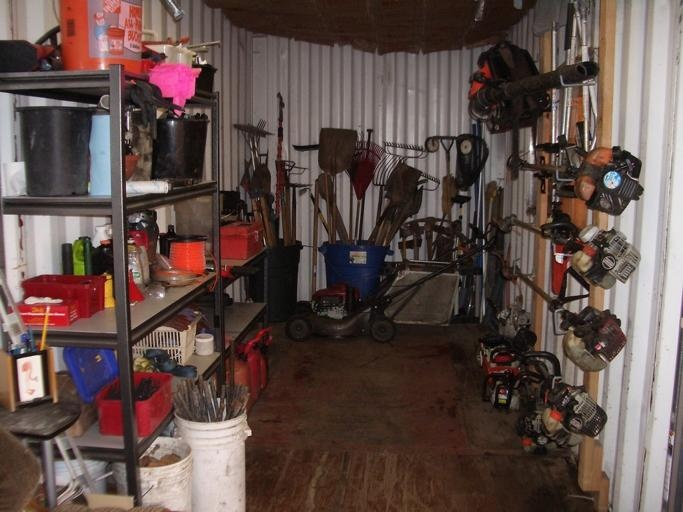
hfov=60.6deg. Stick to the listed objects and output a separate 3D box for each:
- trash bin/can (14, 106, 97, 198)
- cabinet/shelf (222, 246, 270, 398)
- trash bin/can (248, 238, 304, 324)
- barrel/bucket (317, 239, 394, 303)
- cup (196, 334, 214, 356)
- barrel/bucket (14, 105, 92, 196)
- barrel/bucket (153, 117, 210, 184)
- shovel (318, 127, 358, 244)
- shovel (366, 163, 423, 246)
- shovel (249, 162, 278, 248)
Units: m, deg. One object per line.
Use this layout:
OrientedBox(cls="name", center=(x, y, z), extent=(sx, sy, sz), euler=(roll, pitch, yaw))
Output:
OrientedBox(cls="trash bin/can", center=(-1.273, -0.462, 2.717), extent=(0.358, 0.446, 0.371), euler=(5, 8, 25))
OrientedBox(cls="cabinet/shelf", center=(-0.789, 0.552, 4.911), extent=(0.339, 1.027, 1.099), euler=(1, 7, 3))
OrientedBox(cls="trash bin/can", center=(-0.681, 0.259, 6.748), extent=(0.763, 0.876, 0.748), euler=(-2, 4, -21))
OrientedBox(cls="barrel/bucket", center=(0.158, 0.161, 6.764), extent=(0.623, 0.527, 0.635), euler=(2, 1, 0))
OrientedBox(cls="cup", center=(-0.910, 0.604, 3.980), extent=(0.119, 0.118, 0.118), euler=(2, 11, 0))
OrientedBox(cls="barrel/bucket", center=(-1.275, -0.464, 2.732), extent=(0.359, 0.443, 0.364), euler=(1, 7, 0))
OrientedBox(cls="barrel/bucket", center=(-0.858, -0.677, 3.299), extent=(0.272, 0.385, 0.507), euler=(5, 12, 1))
OrientedBox(cls="shovel", center=(-0.081, -0.725, 6.922), extent=(0.350, 1.512, 0.251), euler=(4, 20, 7))
OrientedBox(cls="shovel", center=(0.637, -0.553, 6.816), extent=(0.396, 1.315, 0.179), euler=(23, 15, 10))
OrientedBox(cls="shovel", center=(-0.843, -0.579, 6.481), extent=(0.293, 0.933, 0.132), euler=(-10, 13, -38))
